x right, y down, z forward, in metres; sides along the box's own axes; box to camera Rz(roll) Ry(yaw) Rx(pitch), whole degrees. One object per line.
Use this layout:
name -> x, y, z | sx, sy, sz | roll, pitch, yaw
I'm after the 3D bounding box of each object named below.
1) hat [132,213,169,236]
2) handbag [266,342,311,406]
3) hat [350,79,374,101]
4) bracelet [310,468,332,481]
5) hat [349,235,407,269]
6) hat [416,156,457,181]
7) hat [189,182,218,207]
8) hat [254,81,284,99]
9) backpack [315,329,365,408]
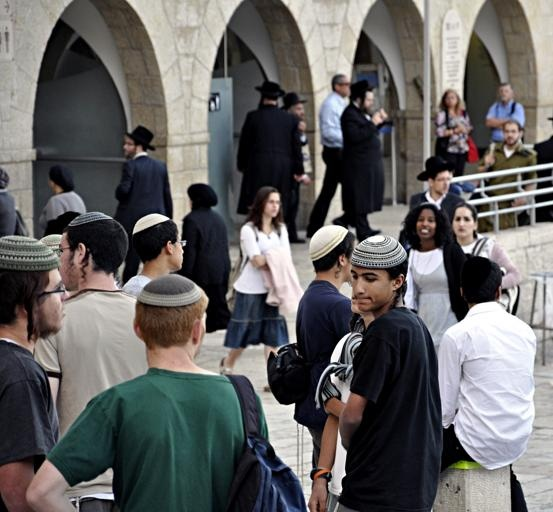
hat -> -0.738, -0.187, 7.396 | 0.119, 0.047, 0.148 | -20, 4, 19
handbag -> 0.064, 0.646, 7.135 | 0.228, 0.445, 0.279 | 2, -2, -5
hat -> 0.976, -1.926, 14.945 | 0.237, 0.108, 0.210 | -26, 13, -27
bracelet -> 0.216, 1.112, 6.622 | 0.061, 0.047, 0.081 | -10, 9, -38
hat -> 0.486, -0.016, 6.306 | 0.169, 0.083, 0.183 | 19, 35, 35
hat -> 1.339, -0.741, 11.036 | 0.215, 0.107, 0.252 | -28, -8, -46
hat -> -0.595, -0.470, 10.553 | 0.182, 0.239, 0.174 | 5, -5, -16
hat -> -0.060, -1.954, 15.175 | 0.328, 0.231, 0.454 | 0, 2, -15
backpack -> 0.317, 0.569, 6.569 | 0.123, 0.389, 0.254 | 10, 3, 1
